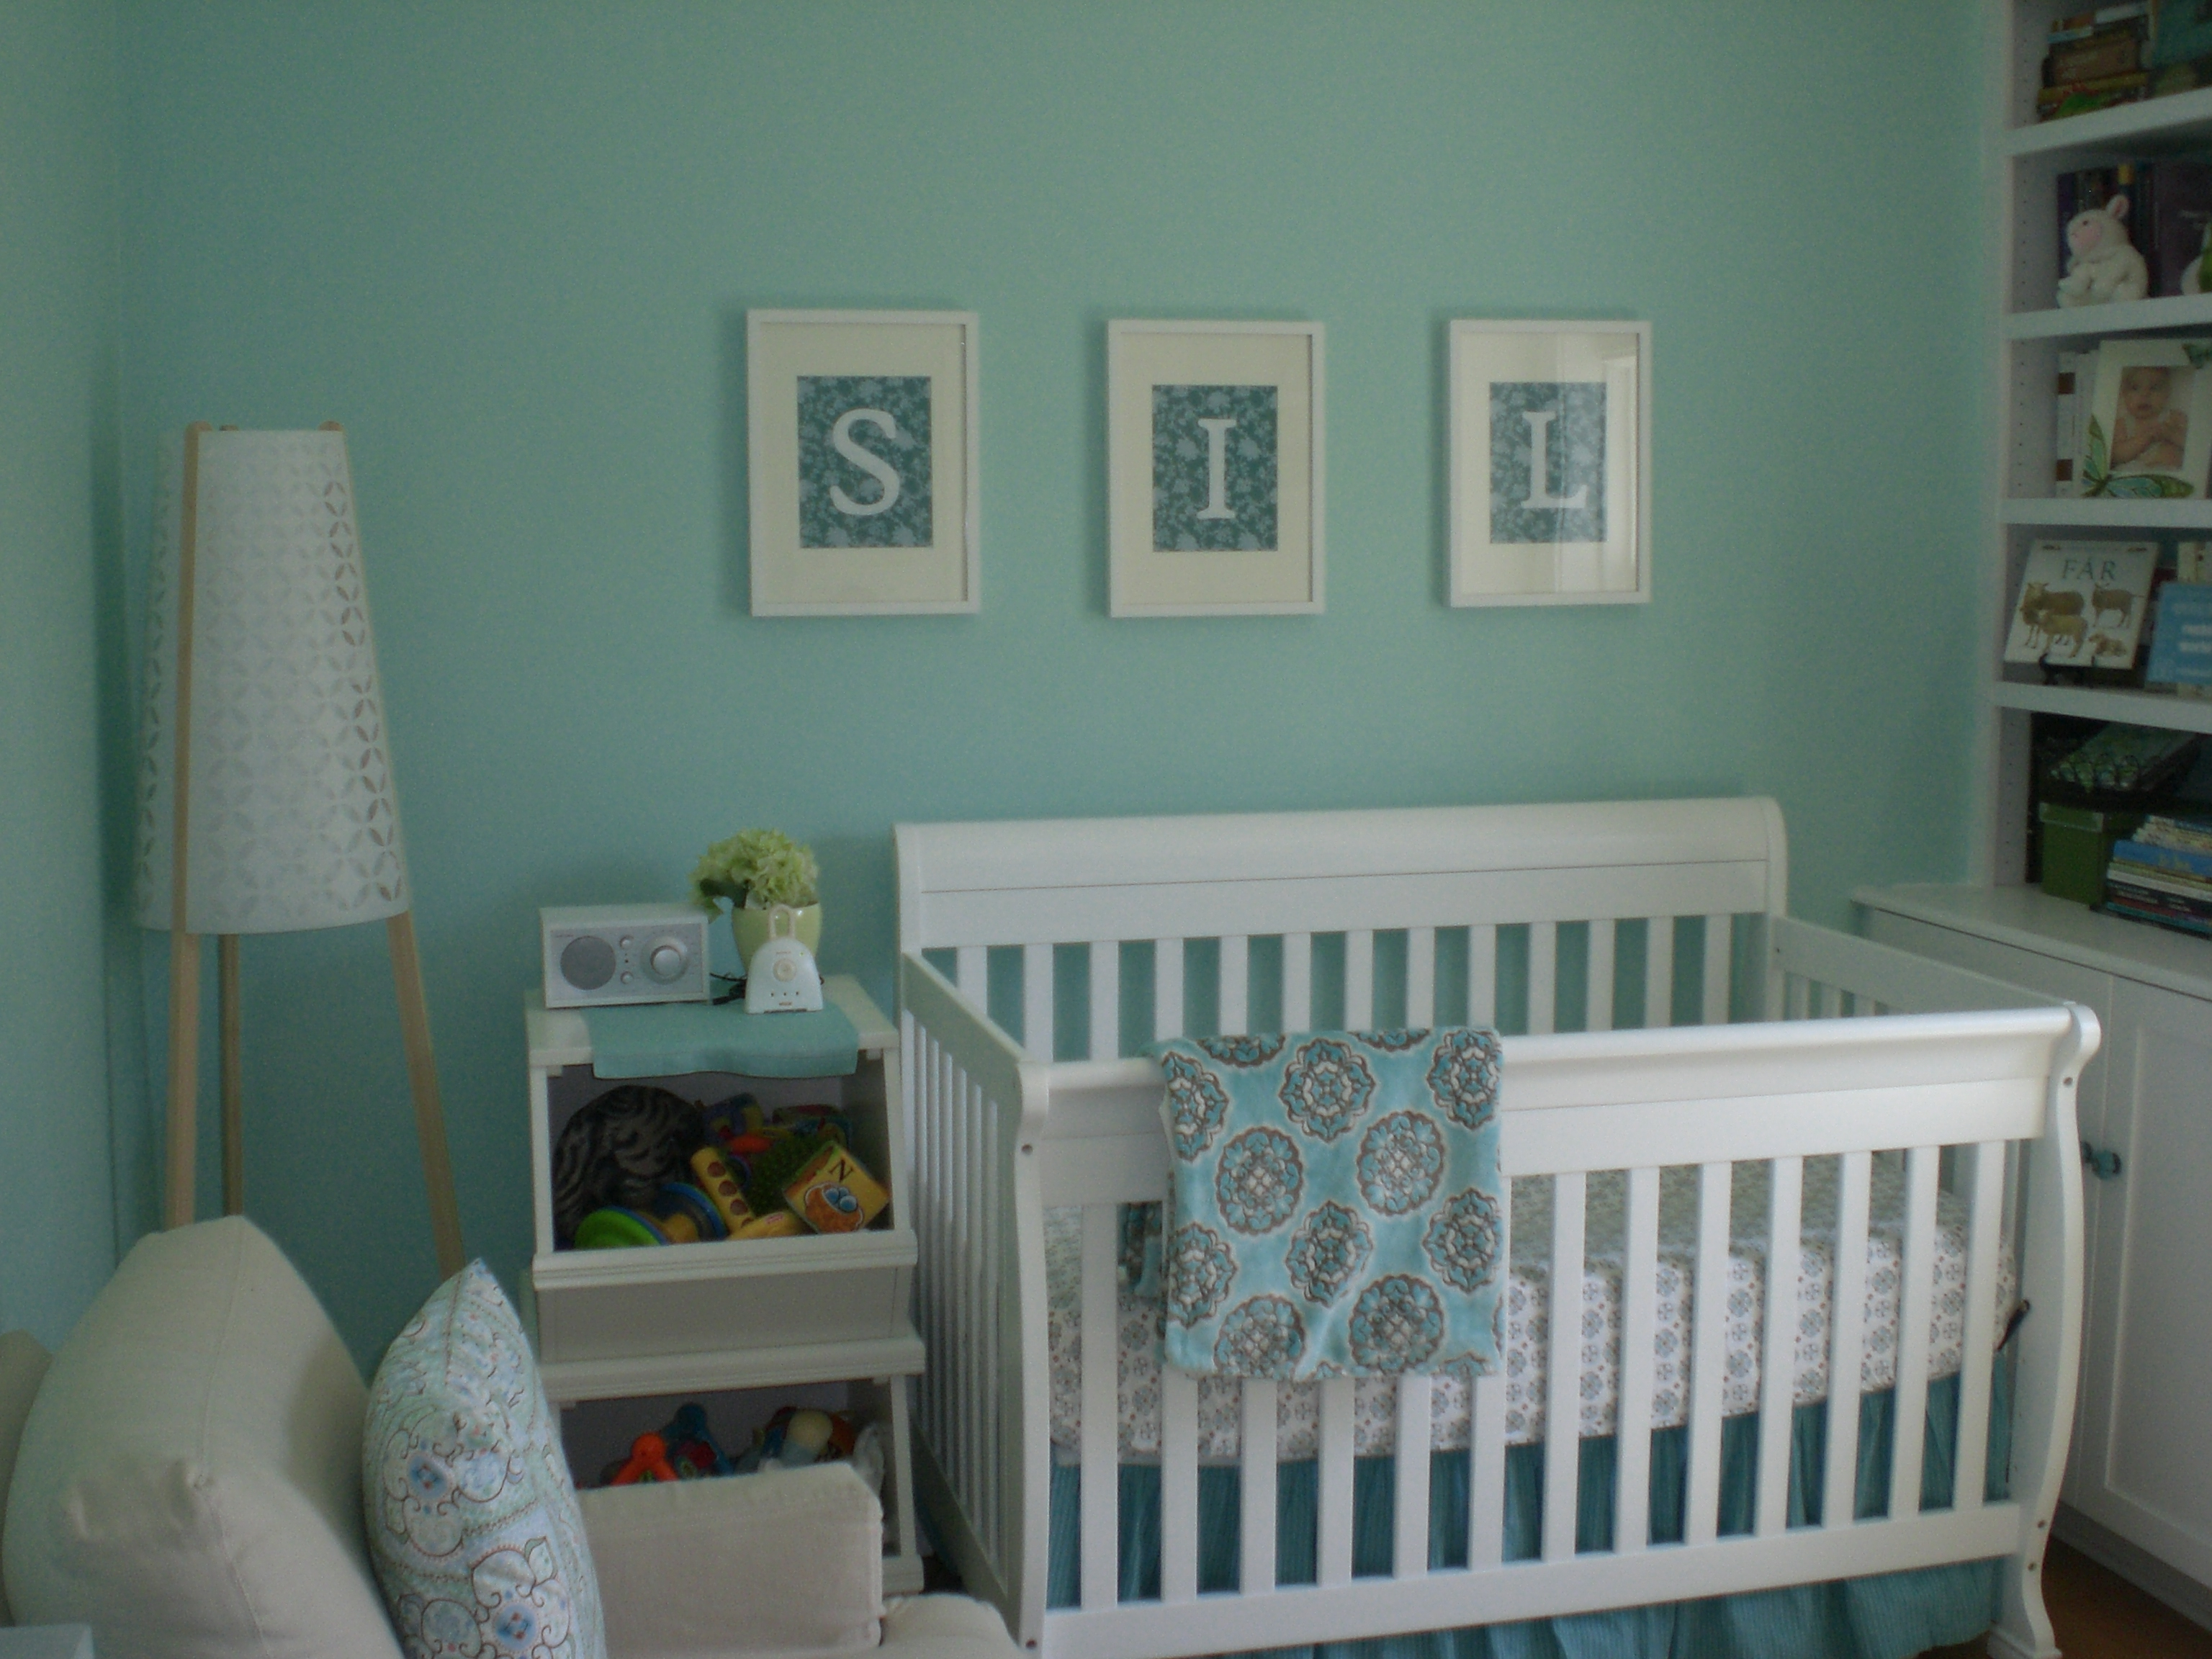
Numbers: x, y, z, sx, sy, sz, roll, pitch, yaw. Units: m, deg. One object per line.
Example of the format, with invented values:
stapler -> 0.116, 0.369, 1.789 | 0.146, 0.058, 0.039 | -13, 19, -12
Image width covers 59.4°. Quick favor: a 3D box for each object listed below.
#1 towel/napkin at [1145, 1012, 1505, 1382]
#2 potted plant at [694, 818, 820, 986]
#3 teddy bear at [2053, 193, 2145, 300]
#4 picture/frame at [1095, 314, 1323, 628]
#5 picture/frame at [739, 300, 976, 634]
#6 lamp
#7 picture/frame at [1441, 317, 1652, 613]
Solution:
towel/napkin -> 0.289, 0.452, 2.632 | 0.396, 0.481, 0.435 | -1, -1, -1
potted plant -> -0.502, 0.110, 2.986 | 0.201, 0.270, 0.215 | -5, -3, 35
teddy bear -> 1.706, -0.992, 3.332 | 0.057, 0.179, 0.177 | -5, 7, -15
picture/frame -> 0.177, -0.590, 3.189 | 0.323, 0.483, 0.037 | 1, -8, 3
picture/frame -> -0.389, -0.581, 3.079 | 0.359, 0.508, 0.024 | -1, -10, -5
lamp -> -1.199, 0.048, 2.801 | 0.384, 1.245, 0.336 | -7, 8, -29
picture/frame -> 0.730, -0.636, 3.284 | 0.423, 0.630, 0.064 | -1, 1, -11
